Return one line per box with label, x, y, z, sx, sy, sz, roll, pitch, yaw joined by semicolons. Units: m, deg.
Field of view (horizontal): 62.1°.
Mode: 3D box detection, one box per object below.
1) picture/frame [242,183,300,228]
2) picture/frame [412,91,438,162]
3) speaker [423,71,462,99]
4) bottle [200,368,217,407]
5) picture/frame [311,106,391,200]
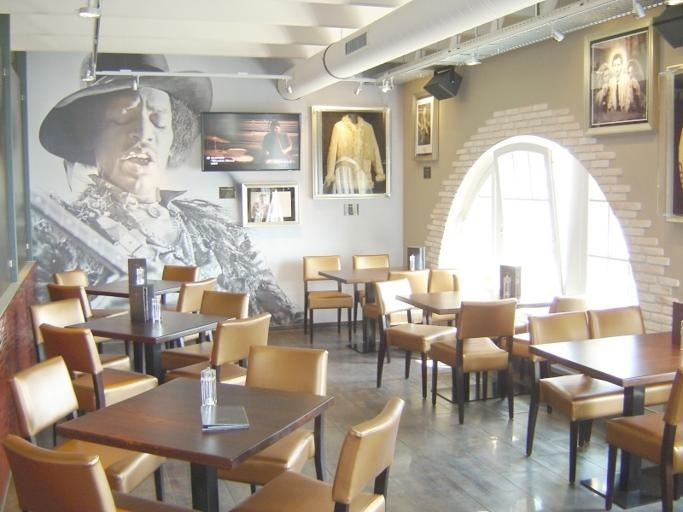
picture/frame;-1.091;-0.803;8.830;0.919;0.679;0.077;-5;14;-29
picture/frame;1.313;-1.976;8.803;0.122;0.985;0.655;-4;9;-18
speaker;1.412;-2.387;7.854;0.506;0.393;0.387;0;8;10
bottle;-0.785;0.756;3.364;0.092;0.234;0.178;-3;8;-14
picture/frame;0.104;-1.708;9.135;1.482;1.569;0.123;-1;5;-22
